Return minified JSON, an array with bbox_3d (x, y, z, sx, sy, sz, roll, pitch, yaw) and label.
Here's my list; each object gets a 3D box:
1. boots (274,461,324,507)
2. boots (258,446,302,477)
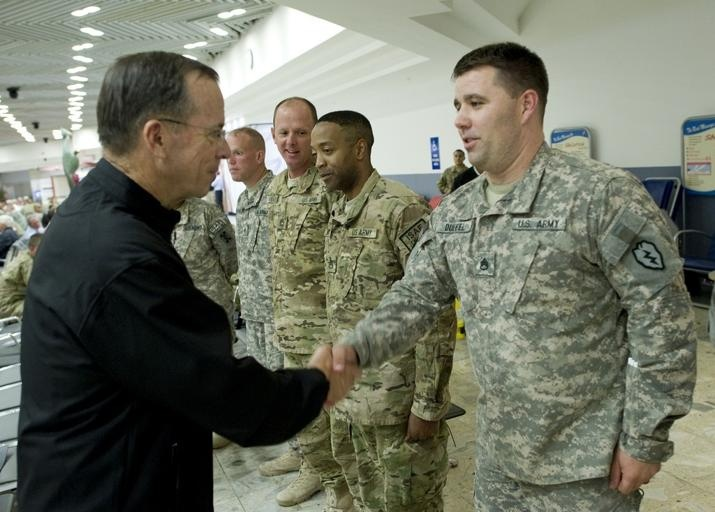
[{"bbox_3d":[-0.289,1.327,3.488,0.121,0.151,0.370,-23,-14,26],"label":"boots"},{"bbox_3d":[-0.448,1.278,3.732,0.325,0.134,0.113,-2,7,-10],"label":"boots"}]
